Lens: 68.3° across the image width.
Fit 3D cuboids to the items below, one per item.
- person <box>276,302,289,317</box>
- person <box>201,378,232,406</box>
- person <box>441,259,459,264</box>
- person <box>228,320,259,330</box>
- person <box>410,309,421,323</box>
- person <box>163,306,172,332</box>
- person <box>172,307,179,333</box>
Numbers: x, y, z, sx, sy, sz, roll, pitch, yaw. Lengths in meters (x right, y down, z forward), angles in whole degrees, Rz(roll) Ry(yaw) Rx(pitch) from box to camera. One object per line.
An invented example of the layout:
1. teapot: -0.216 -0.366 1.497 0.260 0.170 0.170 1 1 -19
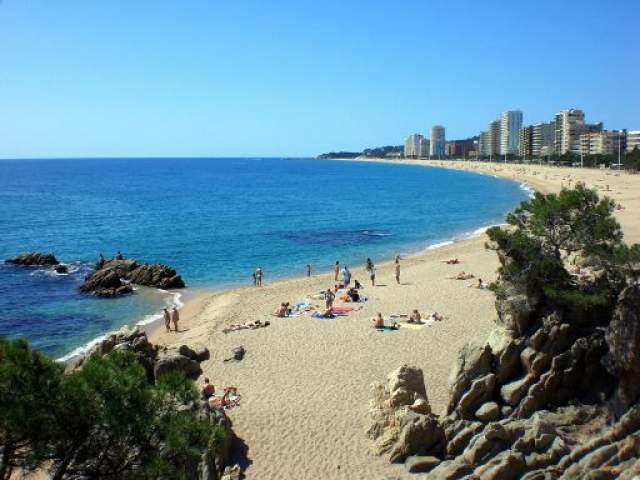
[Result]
1. person: -2.143 4.158 27.783 0.553 0.853 0.879 7 17 -2
2. person: -3.951 5.891 18.107 1.201 0.454 1.118 10 11 7
3. person: 11.181 1.877 40.429 0.677 0.306 0.856 -6 3 -43
4. person: -3.989 4.676 25.788 1.119 0.289 0.660 -13 14 -4
5. person: 5.026 4.012 24.708 0.544 0.709 0.527 -1 18 5
6. person: -9.078 4.654 28.223 0.366 1.449 1.993 -2 3 -17
7. person: -8.601 4.652 28.228 0.369 1.373 2.069 -2 3 -18
